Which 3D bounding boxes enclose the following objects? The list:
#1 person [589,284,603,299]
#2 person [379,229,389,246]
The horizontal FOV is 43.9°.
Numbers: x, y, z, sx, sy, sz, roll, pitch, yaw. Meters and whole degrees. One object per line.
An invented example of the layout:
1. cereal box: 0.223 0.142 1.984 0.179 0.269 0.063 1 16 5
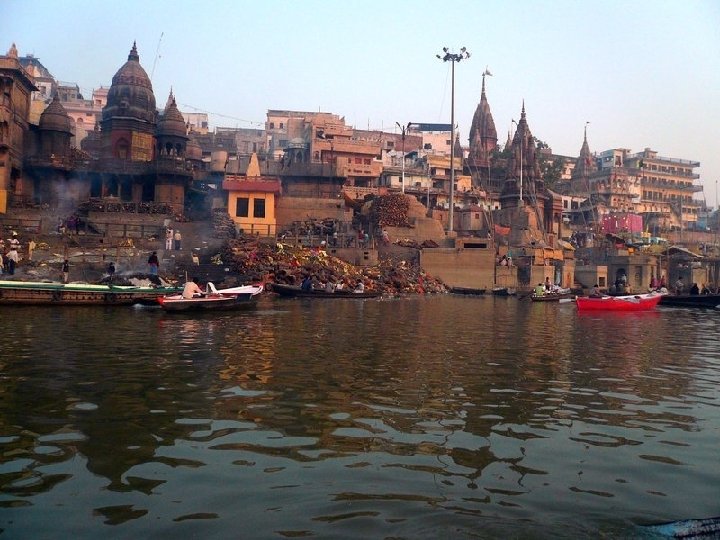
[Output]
1. person: 14.680 1.346 55.862 0.635 0.494 1.535 18 7 17
2. person: 1.865 -2.435 64.566 0.621 1.048 1.349 1 -1 1
